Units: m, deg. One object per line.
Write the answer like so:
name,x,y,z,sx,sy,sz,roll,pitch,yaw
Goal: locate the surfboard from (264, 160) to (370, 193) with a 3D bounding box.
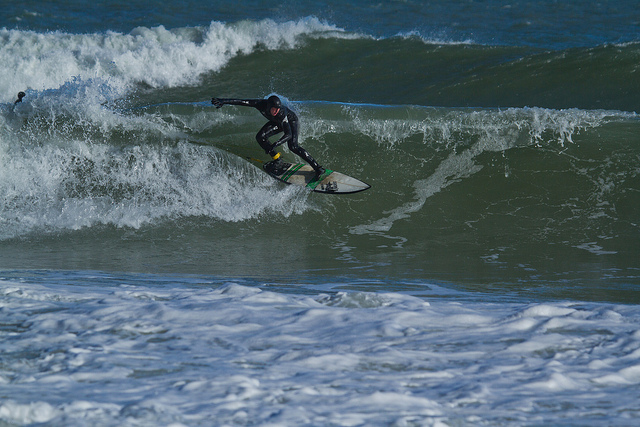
surfboard,-0.183,-0.870,24.409,3.250,0.762,0.273,9,-50,6
